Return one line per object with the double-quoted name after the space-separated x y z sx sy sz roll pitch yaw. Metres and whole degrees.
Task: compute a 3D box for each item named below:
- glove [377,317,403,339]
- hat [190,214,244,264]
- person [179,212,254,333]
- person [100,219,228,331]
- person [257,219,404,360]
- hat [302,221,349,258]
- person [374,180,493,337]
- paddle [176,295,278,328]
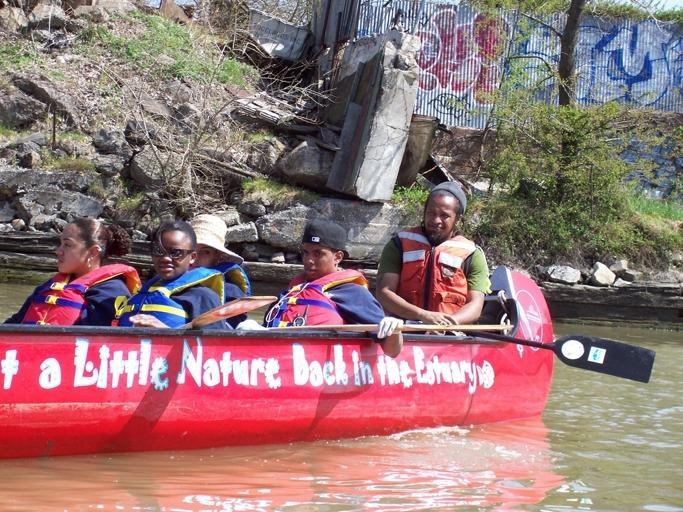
0.310 0.465 4.529 0.127 0.042 0.155 29 28 1 "glove"
-0.966 -0.152 5.248 0.420 0.197 0.406 11 -1 25 "hat"
-0.844 0.061 5.283 0.644 0.777 0.464 -14 -1 45 "person"
-1.159 0.133 4.600 0.902 0.716 0.468 17 13 24 "person"
-0.195 0.257 5.970 1.223 1.347 0.570 -17 -46 38 "person"
-0.174 -0.177 4.973 0.280 0.206 0.349 8 3 22 "hat"
0.726 0.080 5.504 0.940 1.285 0.789 9 14 24 "person"
-0.783 0.363 4.500 0.547 0.047 0.118 -17 -38 0 "paddle"
